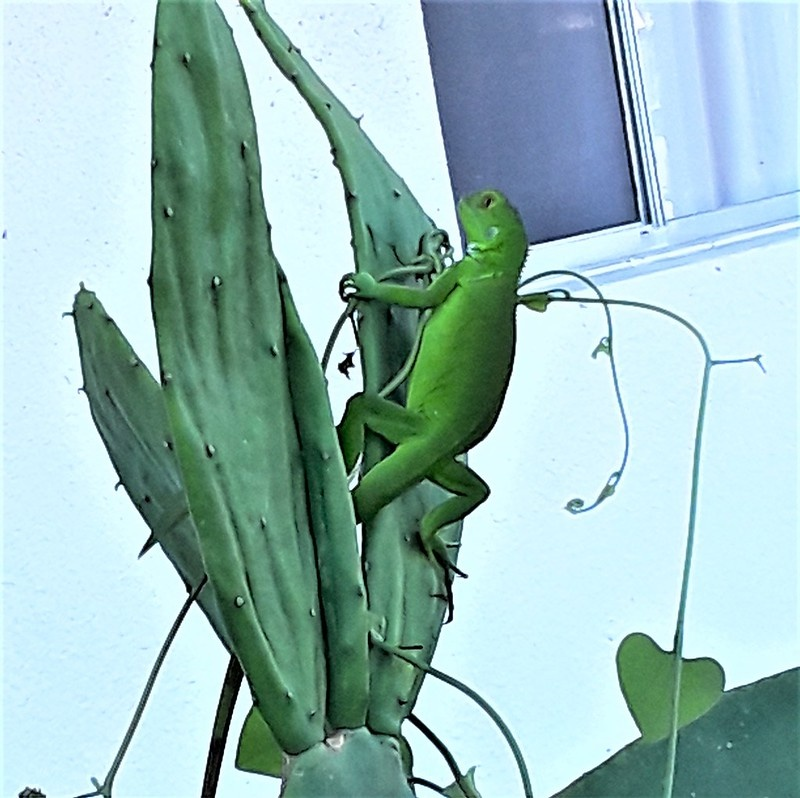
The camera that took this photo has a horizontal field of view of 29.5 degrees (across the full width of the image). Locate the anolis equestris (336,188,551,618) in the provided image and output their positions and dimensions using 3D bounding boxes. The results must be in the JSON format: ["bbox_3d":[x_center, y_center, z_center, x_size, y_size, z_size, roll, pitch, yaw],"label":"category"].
[{"bbox_3d":[0.022,-0.015,1.139,0.105,0.318,0.155,8,21,35],"label":"anolis equestris"}]
